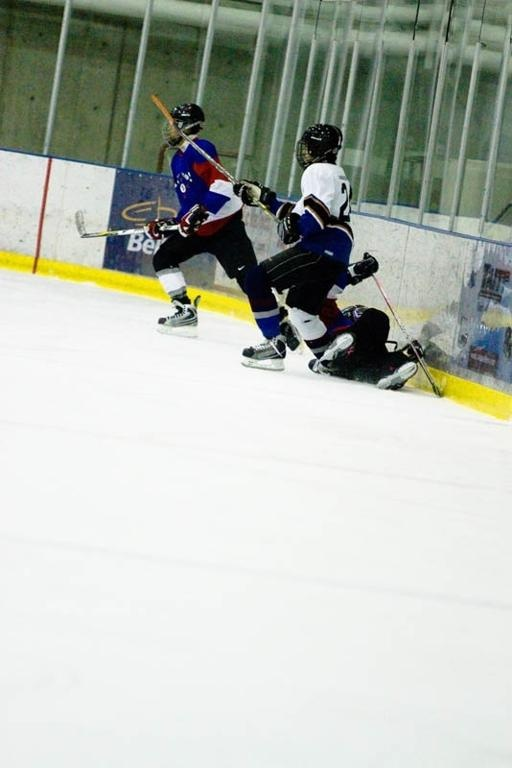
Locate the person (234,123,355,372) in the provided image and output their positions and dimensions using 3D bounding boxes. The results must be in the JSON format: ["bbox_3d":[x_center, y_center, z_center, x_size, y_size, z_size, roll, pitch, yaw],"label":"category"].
[{"bbox_3d":[0.256,-0.697,4.143,0.614,1.134,0.602,11,3,-6],"label":"person"}]

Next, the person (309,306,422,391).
[{"bbox_3d":[0.621,-0.160,4.218,0.541,0.297,0.714,18,-9,17],"label":"person"}]

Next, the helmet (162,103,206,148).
[{"bbox_3d":[-0.420,-1.559,4.801,0.285,0.261,0.206,3,34,-5],"label":"helmet"}]

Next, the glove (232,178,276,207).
[{"bbox_3d":[-0.008,-1.027,4.300,0.211,0.091,0.130,2,36,26],"label":"glove"}]

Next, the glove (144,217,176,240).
[{"bbox_3d":[-0.599,-0.981,5.021,0.180,0.070,0.119,-4,-29,3],"label":"glove"}]

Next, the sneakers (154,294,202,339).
[{"bbox_3d":[-0.433,-0.407,4.806,0.197,0.207,0.349,12,4,17],"label":"sneakers"}]

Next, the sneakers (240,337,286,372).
[{"bbox_3d":[-0.003,-0.148,4.046,0.302,0.192,0.111,2,6,-8],"label":"sneakers"}]

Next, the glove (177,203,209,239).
[{"bbox_3d":[-0.380,-0.954,4.700,0.087,0.114,0.211,18,-39,-37],"label":"glove"}]
